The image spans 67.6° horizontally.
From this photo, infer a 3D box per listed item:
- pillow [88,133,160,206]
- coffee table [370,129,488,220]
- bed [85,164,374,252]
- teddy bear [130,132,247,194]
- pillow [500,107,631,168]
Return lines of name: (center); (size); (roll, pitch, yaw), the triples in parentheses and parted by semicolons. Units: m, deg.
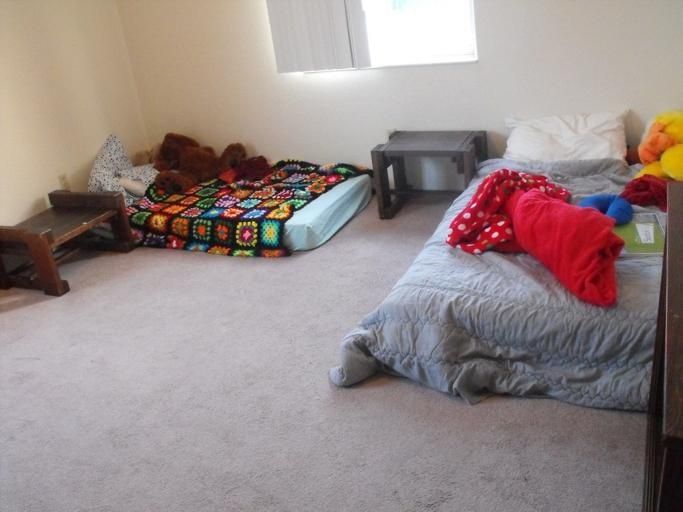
pillow: (-1.945, -0.728, 4.426); (0.639, 0.309, 0.716); (6, 53, -22)
coffee table: (0.669, -0.626, 4.023); (0.710, 0.532, 0.520); (3, 25, 19)
bed: (-0.769, -0.430, 4.292); (1.784, 0.502, 1.123); (3, 21, 21)
teddy bear: (-1.331, -0.861, 4.662); (0.716, 0.261, 0.713); (-18, 31, -1)
pillow: (1.582, -0.841, 3.597); (0.671, 0.184, 0.458); (2, 59, 27)
